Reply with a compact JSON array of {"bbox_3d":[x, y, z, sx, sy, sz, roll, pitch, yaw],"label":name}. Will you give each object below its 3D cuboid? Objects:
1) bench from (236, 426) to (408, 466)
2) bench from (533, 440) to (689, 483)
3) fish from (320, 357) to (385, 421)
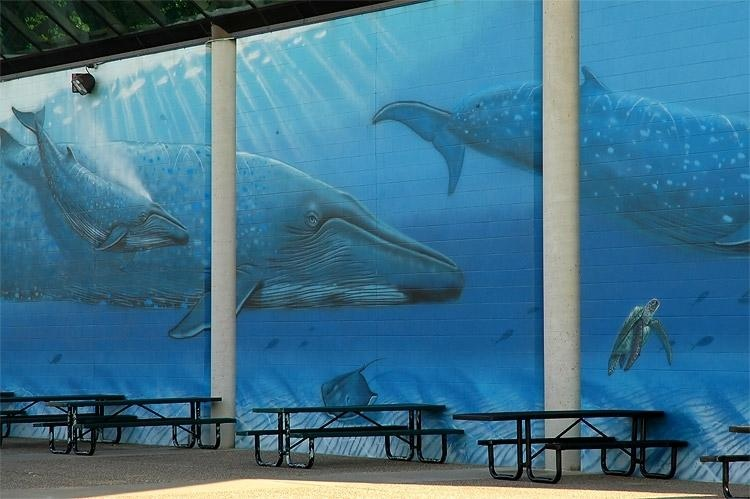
[{"bbox_3d":[-0.605,2.900,17.775,2.554,0.610,1.876,-3,-9,16],"label":"bench"},{"bbox_3d":[3.335,2.969,17.032,1.265,0.402,1.960,4,-11,-10],"label":"bench"},{"bbox_3d":[-0.381,2.116,18.800,0.879,0.960,0.318,24,15,17],"label":"fish"}]
